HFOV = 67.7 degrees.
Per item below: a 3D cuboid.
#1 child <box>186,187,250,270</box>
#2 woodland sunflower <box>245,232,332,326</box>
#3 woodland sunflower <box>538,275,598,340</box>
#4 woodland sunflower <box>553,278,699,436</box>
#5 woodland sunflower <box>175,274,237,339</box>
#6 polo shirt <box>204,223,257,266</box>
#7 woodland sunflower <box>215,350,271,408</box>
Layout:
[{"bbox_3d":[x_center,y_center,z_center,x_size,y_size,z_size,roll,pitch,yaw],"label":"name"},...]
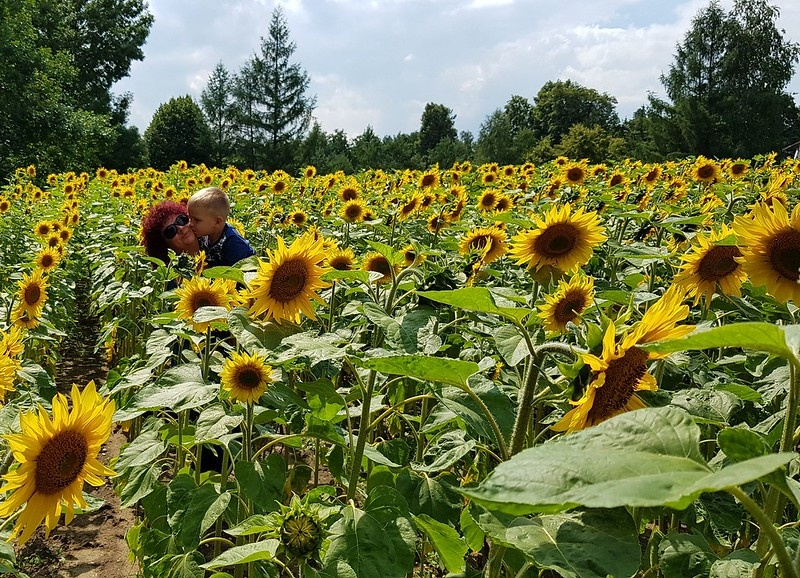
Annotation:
[{"bbox_3d":[-1.637,-0.597,5.474,0.448,0.702,0.574,-14,11,-39],"label":"child"},{"bbox_3d":[-0.512,-0.036,2.724,0.378,0.410,0.244,-9,9,-14],"label":"woodland sunflower"},{"bbox_3d":[0.773,0.082,2.763,0.335,0.292,0.100,-2,14,-43],"label":"woodland sunflower"},{"bbox_3d":[0.794,0.238,2.143,0.210,0.627,0.640,34,66,32],"label":"woodland sunflower"},{"bbox_3d":[-1.061,0.005,3.308,0.383,0.142,0.424,-13,19,-14],"label":"woodland sunflower"},{"bbox_3d":[-1.543,-0.402,5.322,0.567,0.444,0.313,6,11,30],"label":"polo shirt"},{"bbox_3d":[-0.710,0.409,2.728,0.266,0.259,0.101,-5,8,12],"label":"woodland sunflower"}]
